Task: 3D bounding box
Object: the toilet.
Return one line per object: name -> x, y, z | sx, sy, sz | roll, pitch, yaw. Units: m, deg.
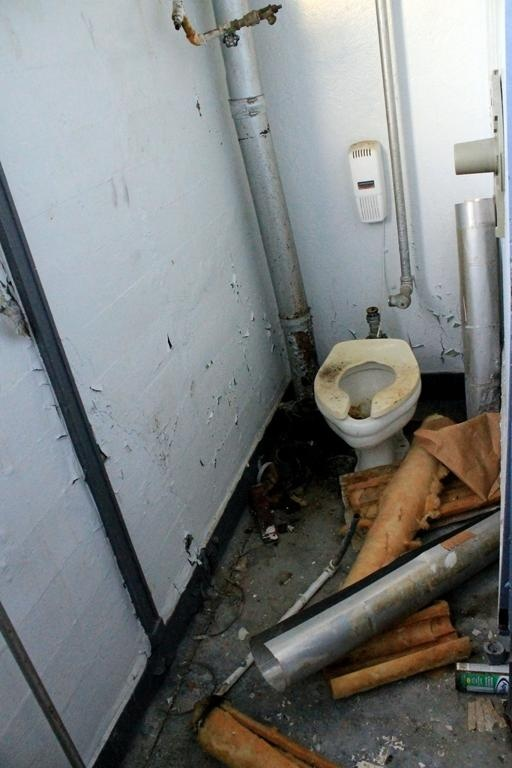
toilet -> 0.447, 0.064, 2.180 | 0.286, 0.456, 0.621 | -2, 36, 16
